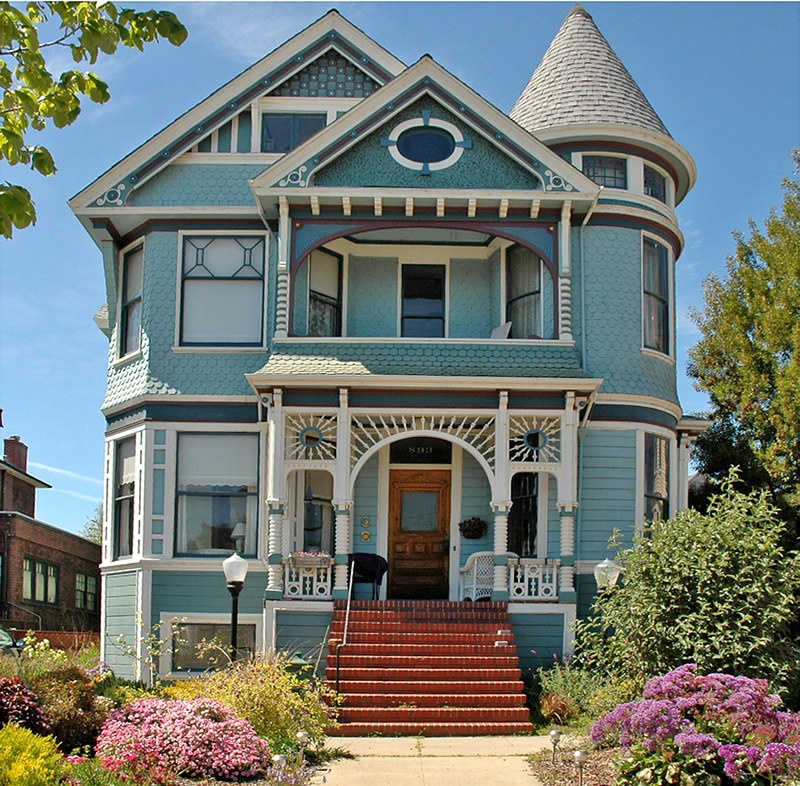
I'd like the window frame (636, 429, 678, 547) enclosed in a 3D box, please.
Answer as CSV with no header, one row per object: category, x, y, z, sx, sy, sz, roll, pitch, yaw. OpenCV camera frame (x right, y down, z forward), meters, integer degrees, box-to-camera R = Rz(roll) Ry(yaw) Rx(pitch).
window frame,4.117,1.559,22.554,0.089,1.746,1.577,-5,-11,35

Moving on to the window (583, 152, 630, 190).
window,3.621,-3.878,24.499,0.837,0.692,0.071,3,-14,3

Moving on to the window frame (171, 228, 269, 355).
window frame,-3.092,-1.765,24.105,1.512,2.064,0.125,0,-10,-1

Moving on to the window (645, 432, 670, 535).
window,4.403,1.267,23.973,0.031,0.994,0.884,-4,-11,42

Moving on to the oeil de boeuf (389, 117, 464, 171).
oeil de boeuf,0.418,-4.199,23.679,1.150,0.983,0.886,-3,-6,10

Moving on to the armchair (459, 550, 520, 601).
armchair,1.566,3.010,22.969,0.973,1.161,0.889,0,-5,-2

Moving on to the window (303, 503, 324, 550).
window,-1.571,2.331,24.228,0.108,0.983,0.560,-4,-8,44

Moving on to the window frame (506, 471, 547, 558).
window frame,2.101,2.077,23.771,0.095,1.563,0.851,12,-18,-37

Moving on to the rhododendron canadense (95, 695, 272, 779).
rhododendron canadense,-2.415,3.861,15.552,1.913,0.879,1.346,2,-13,-7

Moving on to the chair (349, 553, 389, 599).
chair,-0.584,2.944,22.564,0.521,0.756,1.637,-3,-13,13

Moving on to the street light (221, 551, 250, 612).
street light,-2.343,2.605,19.593,0.300,0.738,1.090,2,-13,-6
